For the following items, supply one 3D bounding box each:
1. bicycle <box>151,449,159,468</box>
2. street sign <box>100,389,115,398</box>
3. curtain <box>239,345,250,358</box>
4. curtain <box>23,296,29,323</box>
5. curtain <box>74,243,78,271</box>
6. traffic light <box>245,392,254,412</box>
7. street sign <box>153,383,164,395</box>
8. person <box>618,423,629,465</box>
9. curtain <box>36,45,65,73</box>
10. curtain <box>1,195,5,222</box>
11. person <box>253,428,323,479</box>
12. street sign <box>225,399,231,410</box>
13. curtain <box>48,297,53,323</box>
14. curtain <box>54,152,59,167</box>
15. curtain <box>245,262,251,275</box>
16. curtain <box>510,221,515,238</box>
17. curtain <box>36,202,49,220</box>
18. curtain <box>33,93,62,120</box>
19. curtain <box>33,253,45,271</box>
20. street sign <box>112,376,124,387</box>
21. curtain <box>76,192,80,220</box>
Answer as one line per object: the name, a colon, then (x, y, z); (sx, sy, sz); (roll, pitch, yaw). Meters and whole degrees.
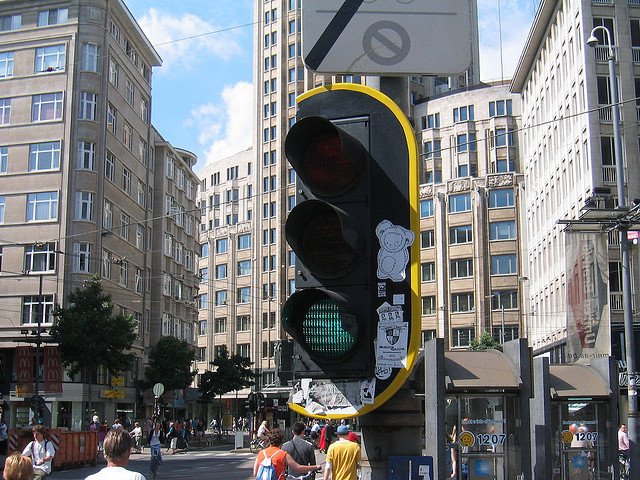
bicycle: (-6.460, 8.573, 35.208); (0.209, 0.718, 0.896); (2, -17, -12)
street sign: (-13.717, 9.900, 57.979); (0.844, 0.640, 0.503); (-1, -15, 2)
curtain: (-7.904, 11.552, 94.104); (0.716, 1.384, 2.185); (6, -18, -23)
curtain: (-18.492, 4.370, 56.595); (0.407, 1.611, 0.121); (-5, -15, 16)
curtain: (-15.447, 1.024, 56.997); (0.213, 1.897, 0.356); (6, -16, -23)
traffic light: (-3.488, 8.143, 45.212); (0.380, 0.971, 0.718); (0, -15, -4)
street sign: (-9.135, 8.515, 50.950); (0.579, 0.864, 0.332); (-3, 14, -24)
person: (10.733, 7.192, 31.733); (0.312, 1.383, 2.272); (-5, -17, 18)
curtain: (-17.913, -12.163, 60.141); (2.409, 2.830, 0.078); (-2, -13, 14)
curtain: (-20.689, -2.131, 58.727); (0.306, 1.784, 0.097); (-9, -17, 30)
person: (-0.752, 4.402, 18.517); (1.293, 1.047, 0.488); (11, -19, -36)
street sign: (-9.822, 17.570, 96.351); (0.619, 1.064, 0.750); (0, -15, -4)
curtain: (-16.799, 4.345, 56.223); (0.271, 1.523, 0.648); (4, -15, -17)
curtain: (-17.044, -5.269, 58.294); (0.350, 0.993, 0.091); (-3, -14, 8)
curtain: (-7.667, 2.973, 96.583); (0.957, 1.954, 0.115); (-12, -17, 42)
curtain: (16.864, -0.991, 78.605); (0.450, 1.488, 0.176); (-6, -15, 19)
curtain: (-17.805, -1.905, 57.873); (0.939, 1.254, 0.117); (-3, -14, 5)
curtain: (-17.889, -8.849, 59.386); (1.646, 1.935, 0.054); (-2, -14, 11)
curtain: (-17.761, 1.381, 56.995); (0.866, 1.142, 0.138); (-5, -17, 8)
street sign: (-13.222, 9.213, 58.996); (0.706, 0.902, 2.419); (3, -18, -13)
curtain: (-15.597, -2.279, 58.008); (0.224, 1.789, 0.089); (5, -15, -19)
